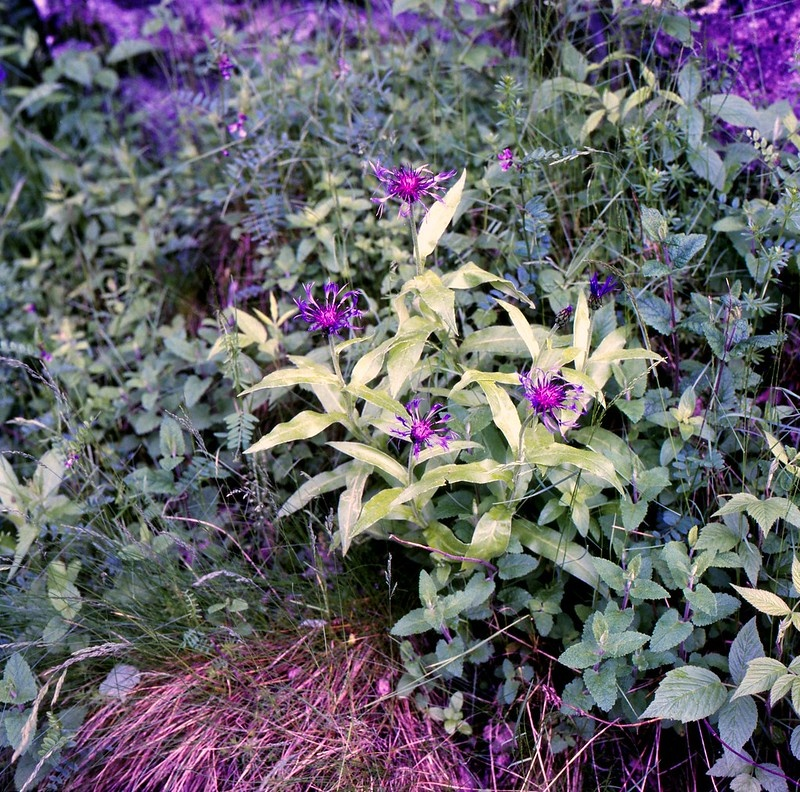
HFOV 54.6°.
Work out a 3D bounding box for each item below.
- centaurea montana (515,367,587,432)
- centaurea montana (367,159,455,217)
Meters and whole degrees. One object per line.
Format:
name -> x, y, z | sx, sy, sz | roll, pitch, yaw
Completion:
centaurea montana -> 0.395, 0.001, 1.999 | 0.162, 0.074, 0.177 | -8, 65, -55
centaurea montana -> 0.026, -0.571, 2.165 | 0.195, 0.206, 0.151 | 0, 87, -25
